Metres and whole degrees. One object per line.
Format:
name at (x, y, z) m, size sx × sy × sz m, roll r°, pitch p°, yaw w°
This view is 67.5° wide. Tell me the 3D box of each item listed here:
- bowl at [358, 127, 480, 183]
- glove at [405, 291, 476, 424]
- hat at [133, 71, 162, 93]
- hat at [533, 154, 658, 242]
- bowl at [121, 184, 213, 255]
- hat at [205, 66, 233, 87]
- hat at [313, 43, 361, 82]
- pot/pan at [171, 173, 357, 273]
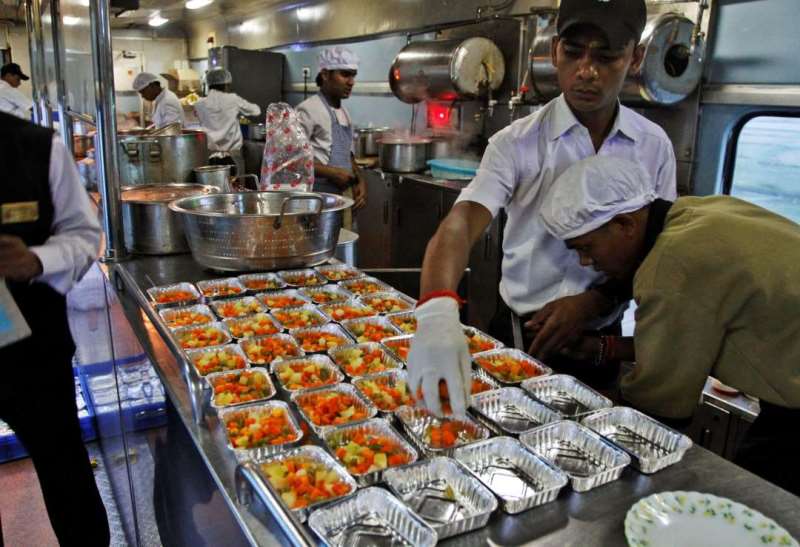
bowl at (0.263, -1.078, 5.461) m, size 0.783 × 0.271 × 0.560 m, roll -1°, pitch 12°, yaw -15°
glove at (0.113, 0.243, 1.707) m, size 0.188 × 0.330 × 0.100 m, roll 6°, pitch -24°, yaw -20°
hat at (-3.007, -2.265, 7.121) m, size 0.252 × 0.206 × 0.702 m, roll -7°, pitch 20°, yaw -18°
hat at (0.695, -0.255, 2.238) m, size 0.387 × 0.238 × 0.277 m, roll -15°, pitch 4°, yaw -10°
bowl at (-1.308, -0.296, 3.112) m, size 0.433 × 0.263 × 0.439 m, roll 2°, pitch 19°, yaw -1°
hat at (-2.167, -2.325, 7.228) m, size 0.299 × 0.224 × 0.292 m, roll -10°, pitch 30°, yaw -25°
hat at (-0.446, -1.526, 4.347) m, size 0.210 × 0.147 × 0.248 m, roll 7°, pitch 18°, yaw 24°
pot/pan at (-0.593, -0.184, 2.738) m, size 0.574 × 0.223 × 0.528 m, roll 12°, pitch 20°, yaw 40°
